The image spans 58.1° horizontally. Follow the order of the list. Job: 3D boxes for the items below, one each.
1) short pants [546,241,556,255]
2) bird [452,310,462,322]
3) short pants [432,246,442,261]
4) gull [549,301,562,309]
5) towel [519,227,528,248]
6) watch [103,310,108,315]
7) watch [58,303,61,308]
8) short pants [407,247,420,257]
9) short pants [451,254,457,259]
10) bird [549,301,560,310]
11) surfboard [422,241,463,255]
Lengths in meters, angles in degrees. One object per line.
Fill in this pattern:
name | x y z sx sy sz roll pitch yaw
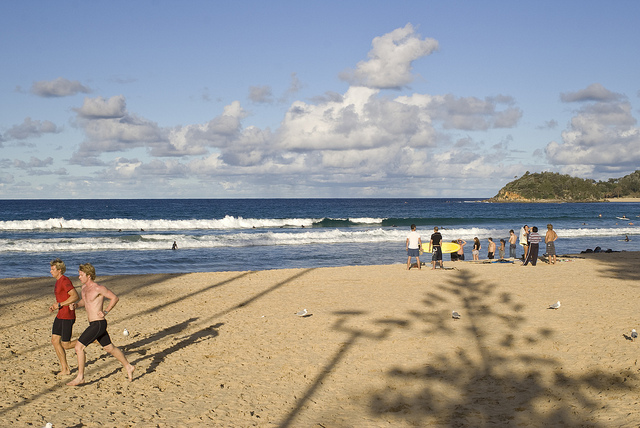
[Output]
short pants | 9.984 1.450 25.089 0.283 0.582 0.219 1 5 19
bird | 4.095 3.003 17.306 0.275 0.253 0.637 0 4 15
short pants | 4.850 1.628 24.129 0.334 0.653 0.492 0 4 11
gull | 7.185 2.775 17.716 0.269 0.227 0.492 1 4 22
towel | 9.224 1.066 26.284 0.628 0.932 0.288 3 2 17
watch | -4.756 2.176 12.795 0.055 0.077 0.083 8 -18 -23
watch | -5.804 2.021 12.840 0.093 0.102 0.029 1 5 28
short pants | 3.769 1.539 23.413 0.543 0.469 0.291 1 0 12
short pants | 6.328 1.999 27.275 0.253 0.226 0.132 0 -9 0
bird | 7.179 2.794 17.740 0.287 0.268 0.524 1 4 23
surfboard | 5.843 1.680 27.953 1.763 0.709 0.343 -3 -22 26
